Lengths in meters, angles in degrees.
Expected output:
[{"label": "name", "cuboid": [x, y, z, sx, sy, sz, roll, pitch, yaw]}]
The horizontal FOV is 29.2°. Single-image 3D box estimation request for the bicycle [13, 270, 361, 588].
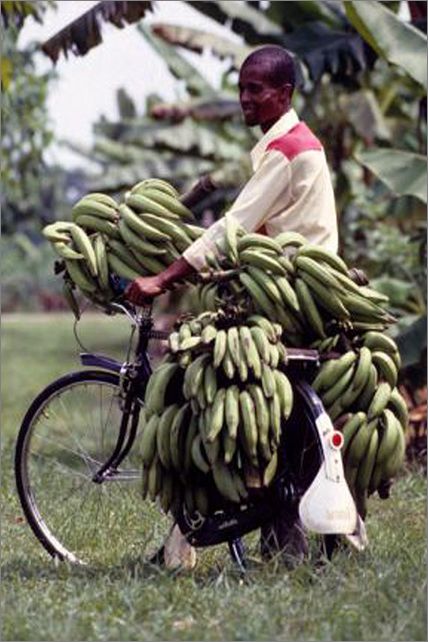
[{"label": "bicycle", "cuboid": [-0.205, 0.534, 3.775, 1.920, 1.209, 0.898, 3, 3, 7]}]
